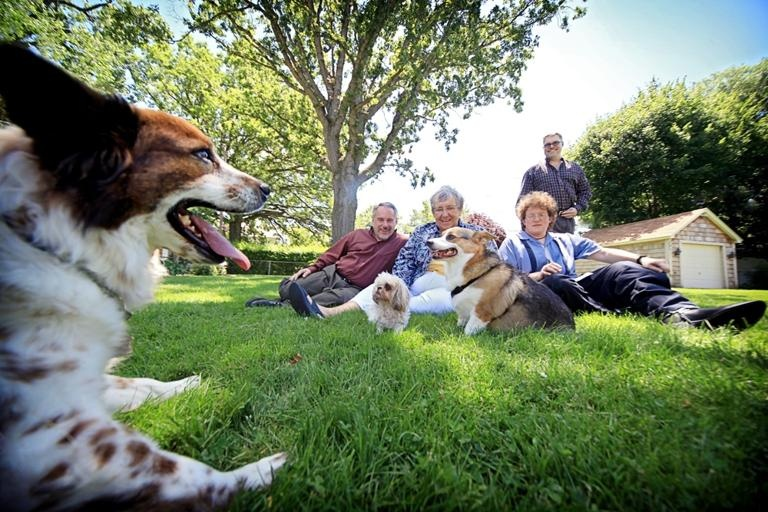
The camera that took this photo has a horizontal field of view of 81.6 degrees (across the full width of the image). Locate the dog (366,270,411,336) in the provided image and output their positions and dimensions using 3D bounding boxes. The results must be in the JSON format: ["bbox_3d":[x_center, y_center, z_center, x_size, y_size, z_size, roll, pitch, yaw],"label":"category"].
[{"bbox_3d":[0.119,0.613,5.848,0.485,0.633,0.660,0,-36,6],"label":"dog"}]

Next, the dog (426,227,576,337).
[{"bbox_3d":[1.528,0.503,6.055,2.157,1.381,0.956,15,-4,-15],"label":"dog"}]

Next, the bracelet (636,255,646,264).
[{"bbox_3d":[3.410,0.052,5.912,0.105,0.098,0.200,0,-3,30],"label":"bracelet"}]
